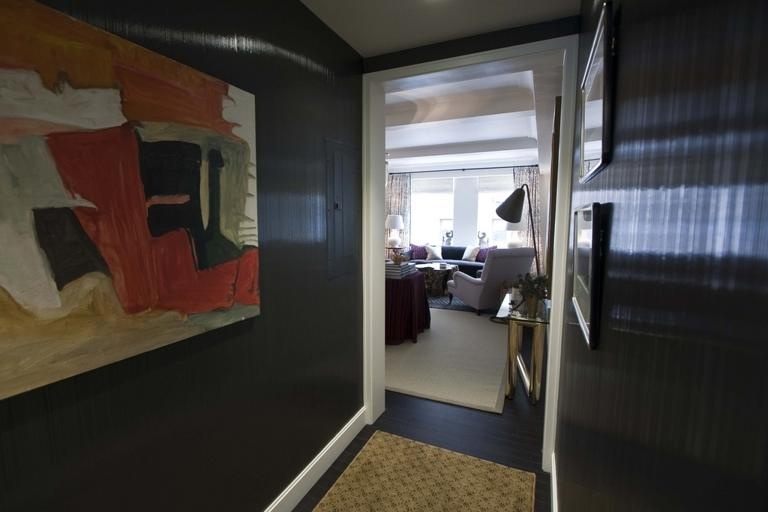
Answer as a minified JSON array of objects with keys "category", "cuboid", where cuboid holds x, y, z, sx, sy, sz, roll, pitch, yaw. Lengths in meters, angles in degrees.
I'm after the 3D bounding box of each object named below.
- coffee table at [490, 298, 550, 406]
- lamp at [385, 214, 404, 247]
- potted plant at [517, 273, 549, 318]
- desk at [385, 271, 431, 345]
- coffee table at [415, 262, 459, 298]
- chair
[{"category":"coffee table","cuboid":[1.270,0.789,4.500,0.396,0.626,1.748,3,0,18]},{"category":"lamp","cuboid":[0.212,-0.470,9.997,0.449,0.645,0.446,-1,-5,13]},{"category":"potted plant","cuboid":[1.066,0.271,3.807,0.280,0.359,0.282,2,9,13]},{"category":"desk","cuboid":[0.141,0.525,5.211,0.437,0.591,0.658,-4,1,-2]},{"category":"coffee table","cuboid":[0.907,0.440,7.742,0.558,0.368,0.611,15,-13,-31]},{"category":"chair","cuboid":[1.307,0.264,6.476,0.727,0.815,0.952,-1,6,-26]}]
